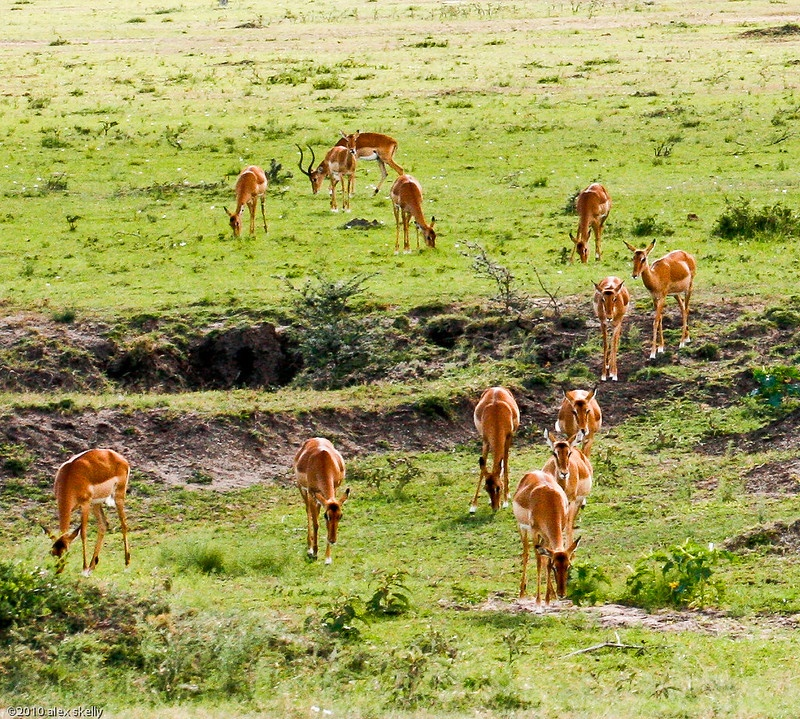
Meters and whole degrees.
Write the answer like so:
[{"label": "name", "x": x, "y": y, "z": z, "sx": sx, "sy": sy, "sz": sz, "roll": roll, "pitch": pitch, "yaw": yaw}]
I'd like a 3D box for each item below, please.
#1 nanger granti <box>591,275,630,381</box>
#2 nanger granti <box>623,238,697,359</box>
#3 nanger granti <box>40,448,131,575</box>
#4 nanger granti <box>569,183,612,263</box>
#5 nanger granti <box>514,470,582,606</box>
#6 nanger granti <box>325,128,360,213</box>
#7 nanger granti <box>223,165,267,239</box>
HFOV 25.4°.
[{"label": "nanger granti", "x": 4.224, "y": -0.644, "z": 35.750, "sx": 0.689, "sy": 2.085, "sz": 1.429, "roll": -1, "pitch": 9, "yaw": 6}, {"label": "nanger granti", "x": 5.389, "y": -1.279, "z": 36.363, "sx": 1.078, "sy": 2.361, "sz": 1.574, "roll": 2, "pitch": 10, "yaw": 23}, {"label": "nanger granti", "x": -5.344, "y": 2.690, "z": 29.934, "sx": 0.745, "sy": 2.237, "sz": 2.753, "roll": -3, "pitch": 6, "yaw": 15}, {"label": "nanger granti", "x": 4.220, "y": -3.035, "z": 39.652, "sx": 0.595, "sy": 1.728, "sz": 1.372, "roll": 1, "pitch": 10, "yaw": 19}, {"label": "nanger granti", "x": 2.320, "y": 2.900, "z": 28.528, "sx": 0.952, "sy": 2.029, "sz": 1.630, "roll": -2, "pitch": 9, "yaw": -1}, {"label": "nanger granti", "x": -1.467, "y": -4.822, "z": 45.175, "sx": 0.611, "sy": 2.045, "sz": 2.667, "roll": -2, "pitch": 8, "yaw": -13}, {"label": "nanger granti", "x": -3.716, "y": -3.900, "z": 43.247, "sx": 0.924, "sy": 1.617, "sz": 2.461, "roll": -2, "pitch": 10, "yaw": -1}]
